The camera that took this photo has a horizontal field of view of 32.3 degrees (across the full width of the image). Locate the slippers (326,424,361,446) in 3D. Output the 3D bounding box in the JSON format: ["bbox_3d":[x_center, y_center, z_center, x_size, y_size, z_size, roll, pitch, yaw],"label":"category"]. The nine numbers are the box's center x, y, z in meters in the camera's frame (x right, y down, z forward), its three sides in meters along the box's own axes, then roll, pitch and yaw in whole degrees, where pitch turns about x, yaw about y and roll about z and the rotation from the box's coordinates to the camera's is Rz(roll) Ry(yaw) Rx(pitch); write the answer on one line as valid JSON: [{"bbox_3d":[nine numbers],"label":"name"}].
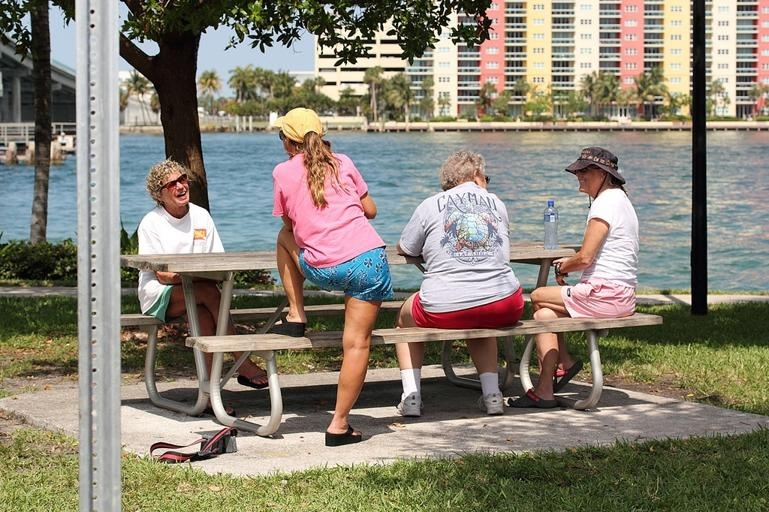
[{"bbox_3d":[-0.437,1.968,14.632,0.419,0.170,0.161,-4,6,-42],"label":"slippers"}]

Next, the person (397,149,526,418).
[{"bbox_3d":[0.865,0.329,15.254,1.445,3.045,0.509,-1,6,5],"label":"person"}]

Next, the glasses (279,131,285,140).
[{"bbox_3d":[-1.113,-1.327,14.661,0.082,0.087,0.101,4,-7,-26],"label":"glasses"}]

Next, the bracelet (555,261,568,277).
[{"bbox_3d":[2.094,0.143,15.670,0.081,0.099,0.184,-38,-10,3],"label":"bracelet"}]

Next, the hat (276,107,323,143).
[{"bbox_3d":[-0.955,-1.469,14.612,0.357,0.243,0.491,-15,24,-32],"label":"hat"}]

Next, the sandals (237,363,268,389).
[{"bbox_3d":[-1.581,1.458,16.008,0.245,0.127,0.438,-16,24,-41],"label":"sandals"}]

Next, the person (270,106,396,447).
[{"bbox_3d":[-0.568,0.212,14.616,1.270,3.677,0.588,-2,6,1],"label":"person"}]

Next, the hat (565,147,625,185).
[{"bbox_3d":[2.517,-1.102,15.719,0.580,0.287,0.476,17,6,15],"label":"hat"}]

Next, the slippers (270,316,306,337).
[{"bbox_3d":[-1.065,0.785,14.833,0.383,0.142,0.185,8,10,44],"label":"slippers"}]

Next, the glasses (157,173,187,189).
[{"bbox_3d":[-2.422,-0.854,15.353,0.346,0.186,0.099,-5,7,-31],"label":"glasses"}]

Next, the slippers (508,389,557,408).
[{"bbox_3d":[1.758,1.660,15.691,0.445,0.164,0.242,2,-3,5],"label":"slippers"}]
